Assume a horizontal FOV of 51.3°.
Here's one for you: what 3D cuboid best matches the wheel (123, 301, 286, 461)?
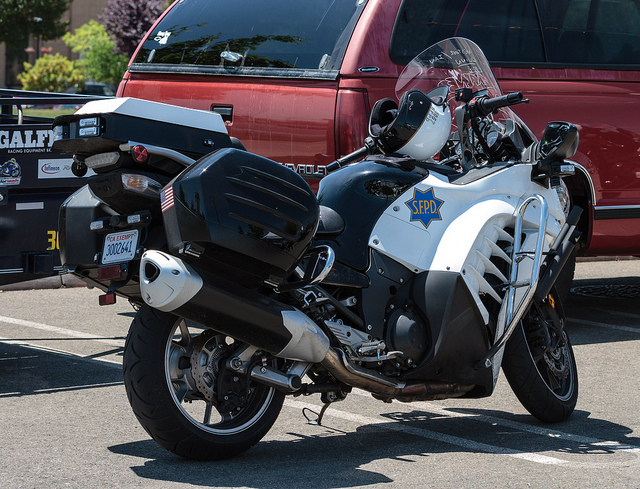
[{"bbox_3d":[-0.532,0.641,3.133,0.968,0.736,0.283,-2,-19,-46],"label":"wheel"}]
